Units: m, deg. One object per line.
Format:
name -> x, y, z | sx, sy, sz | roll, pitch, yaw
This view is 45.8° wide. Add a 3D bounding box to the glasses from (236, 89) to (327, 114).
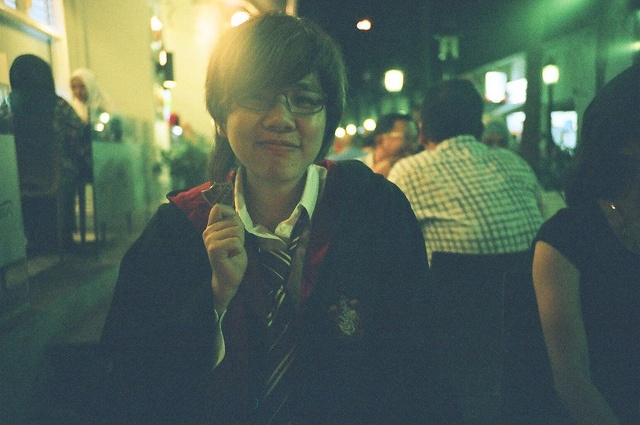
glasses -> -0.138, -0.391, 2.696 | 0.311, 0.092, 0.065 | -2, 6, -6
